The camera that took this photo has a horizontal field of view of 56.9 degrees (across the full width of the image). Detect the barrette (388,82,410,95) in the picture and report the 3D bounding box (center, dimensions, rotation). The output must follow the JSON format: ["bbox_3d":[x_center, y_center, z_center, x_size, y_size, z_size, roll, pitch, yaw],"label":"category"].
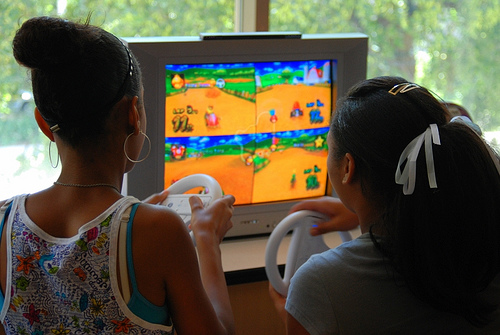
[{"bbox_3d":[0.357,-0.189,1.110,0.043,0.024,0.015,-35,11,-21],"label":"barrette"}]

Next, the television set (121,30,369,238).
[{"bbox_3d":[-0.027,-0.131,1.565,0.956,0.653,0.144,-1,13,-7],"label":"television set"}]

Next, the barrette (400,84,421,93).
[{"bbox_3d":[0.385,-0.188,1.109,0.022,0.020,0.063,13,16,43],"label":"barrette"}]

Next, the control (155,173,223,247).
[{"bbox_3d":[-0.167,0.101,1.537,0.239,0.227,0.218,13,19,35],"label":"control"}]

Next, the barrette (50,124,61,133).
[{"bbox_3d":[-0.436,-0.086,1.033,0.020,0.015,0.007,-32,-16,-3],"label":"barrette"}]
